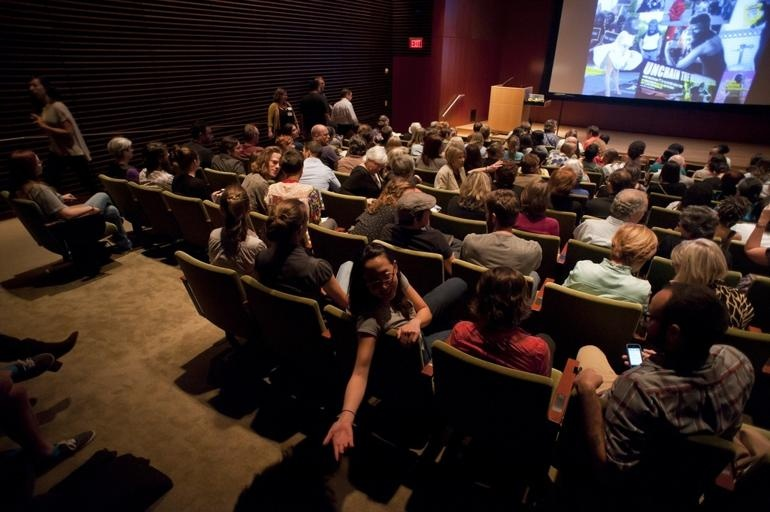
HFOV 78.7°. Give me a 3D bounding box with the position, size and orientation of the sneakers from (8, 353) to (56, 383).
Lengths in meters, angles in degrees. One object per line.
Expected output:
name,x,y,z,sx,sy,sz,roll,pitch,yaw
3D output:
sneakers,-2.979,0.921,3.910,0.373,0.142,0.126,-21,81,-43

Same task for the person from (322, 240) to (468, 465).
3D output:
person,0.059,0.690,3.433,0.540,1.564,1.450,19,28,37

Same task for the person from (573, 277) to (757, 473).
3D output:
person,1.816,0.793,3.018,0.683,1.348,0.824,-13,44,19

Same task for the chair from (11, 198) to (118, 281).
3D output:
chair,-3.673,-0.348,5.266,0.998,0.886,0.869,-13,31,-41

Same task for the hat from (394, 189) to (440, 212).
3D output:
hat,0.285,-0.483,4.063,0.250,0.074,0.223,-8,35,-13

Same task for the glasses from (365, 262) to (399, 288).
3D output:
glasses,0.000,0.114,3.220,0.275,0.180,0.093,-12,26,-29

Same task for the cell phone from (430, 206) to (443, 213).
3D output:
cell phone,0.589,-0.545,5.313,0.135,0.053,0.174,18,20,24

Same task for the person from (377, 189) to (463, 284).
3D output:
person,0.362,-0.353,4.362,0.592,0.962,0.795,19,43,26

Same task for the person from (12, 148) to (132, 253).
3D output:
person,-3.660,-0.632,5.425,0.618,1.257,0.777,36,45,20

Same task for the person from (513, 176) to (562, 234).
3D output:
person,1.528,-0.490,4.620,0.385,0.923,0.307,15,59,19

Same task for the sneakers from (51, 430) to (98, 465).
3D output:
sneakers,-2.357,1.414,3.571,0.112,0.118,0.307,35,37,16

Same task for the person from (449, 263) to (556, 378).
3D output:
person,0.815,0.375,3.378,0.732,0.895,0.695,11,21,21

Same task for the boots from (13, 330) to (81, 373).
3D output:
boots,-2.936,0.773,4.088,0.603,0.231,0.199,-11,63,-46

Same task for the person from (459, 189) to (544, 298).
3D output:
person,0.986,-0.219,4.274,0.893,1.129,0.833,4,28,15

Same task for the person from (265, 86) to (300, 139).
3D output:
person,-1.846,-2.366,8.523,0.604,1.245,0.341,-20,31,-38

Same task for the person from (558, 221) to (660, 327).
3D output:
person,1.939,0.201,3.911,0.722,0.963,0.552,18,12,33

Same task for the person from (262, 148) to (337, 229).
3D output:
person,-0.922,-0.681,5.042,0.630,0.845,0.747,7,14,15
